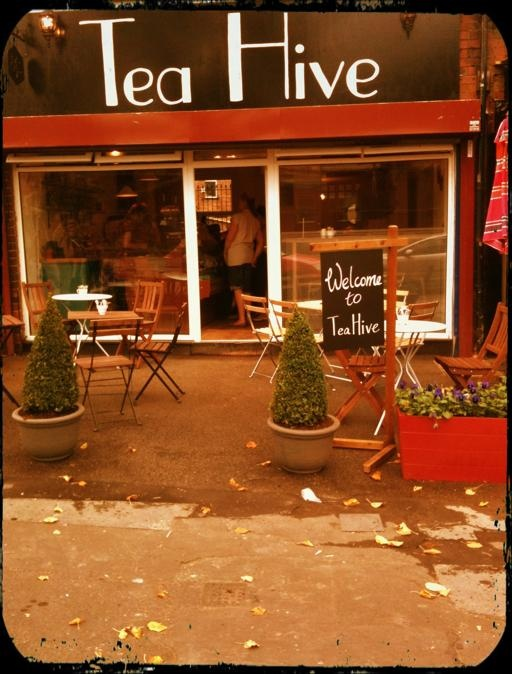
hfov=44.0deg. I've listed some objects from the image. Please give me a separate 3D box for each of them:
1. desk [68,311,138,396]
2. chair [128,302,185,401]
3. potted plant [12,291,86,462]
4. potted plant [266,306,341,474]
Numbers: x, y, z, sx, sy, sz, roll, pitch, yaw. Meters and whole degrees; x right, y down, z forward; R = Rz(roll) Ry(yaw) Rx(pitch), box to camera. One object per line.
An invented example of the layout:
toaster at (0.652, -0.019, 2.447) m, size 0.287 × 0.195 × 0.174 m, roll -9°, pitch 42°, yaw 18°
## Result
desk at (-1.775, 0.207, 7.415) m, size 0.875 × 1.066 × 0.815 m, roll -1°, pitch 17°, yaw -17°
chair at (-1.276, 0.212, 8.182) m, size 0.673 × 1.238 × 0.946 m, roll 8°, pitch 10°, yaw -5°
potted plant at (-1.697, 0.374, 5.151) m, size 0.553 × 1.327 × 0.443 m, roll -3°, pitch 8°, yaw -24°
potted plant at (0.367, 0.449, 4.849) m, size 0.537 × 1.246 × 0.417 m, roll 0°, pitch 7°, yaw 1°
